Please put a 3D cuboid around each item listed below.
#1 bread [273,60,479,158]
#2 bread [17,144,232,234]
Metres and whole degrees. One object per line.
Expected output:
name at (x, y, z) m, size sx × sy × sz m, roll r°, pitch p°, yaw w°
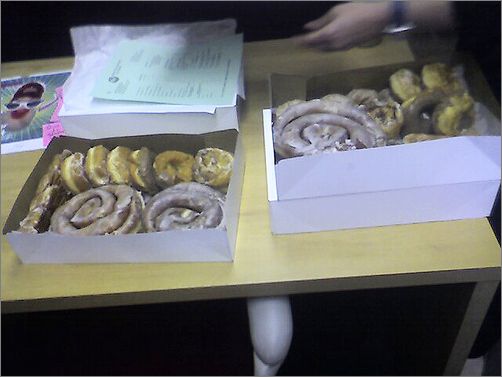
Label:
bread at (0.240, -0.149, 0.863) m, size 0.401 × 0.115 × 0.200 m, roll -3°, pitch 38°, yaw -1°
bread at (-0.266, 0.008, 0.933) m, size 0.300 × 0.079 × 0.228 m, roll 0°, pitch 49°, yaw 6°
